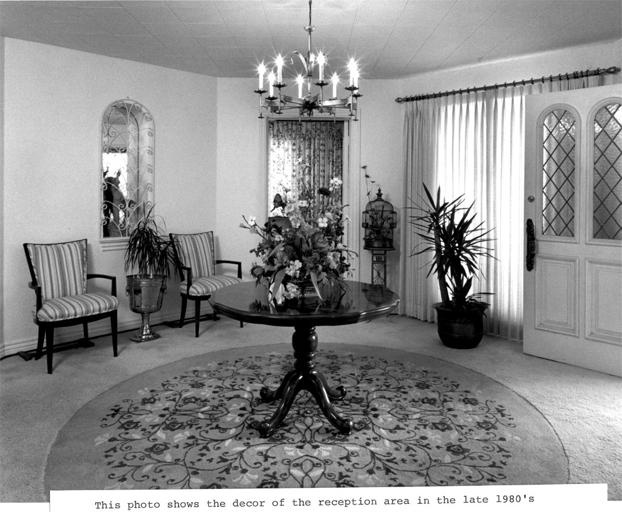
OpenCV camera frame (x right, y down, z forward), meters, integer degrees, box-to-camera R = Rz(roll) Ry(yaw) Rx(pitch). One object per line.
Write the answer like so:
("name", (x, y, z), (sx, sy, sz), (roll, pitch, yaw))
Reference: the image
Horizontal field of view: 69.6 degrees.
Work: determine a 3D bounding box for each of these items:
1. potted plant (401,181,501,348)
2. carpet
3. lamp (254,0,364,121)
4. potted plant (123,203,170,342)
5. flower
("potted plant", (1.601, 0.047, 5.074), (0.962, 1.758, 1.437), (2, 8, 13))
("carpet", (-0.034, 1.162, 3.307), (3.301, 0.044, 1.668), (0, 9, -1))
("lamp", (-0.025, -2.011, 4.512), (0.970, 1.326, 1.017), (-3, 16, -13))
("potted plant", (-1.901, 0.193, 5.232), (0.513, 1.394, 0.865), (-3, 9, -23))
("flower", (-0.061, -0.069, 3.354), (0.867, 1.006, 0.846), (1, -1, -13))
